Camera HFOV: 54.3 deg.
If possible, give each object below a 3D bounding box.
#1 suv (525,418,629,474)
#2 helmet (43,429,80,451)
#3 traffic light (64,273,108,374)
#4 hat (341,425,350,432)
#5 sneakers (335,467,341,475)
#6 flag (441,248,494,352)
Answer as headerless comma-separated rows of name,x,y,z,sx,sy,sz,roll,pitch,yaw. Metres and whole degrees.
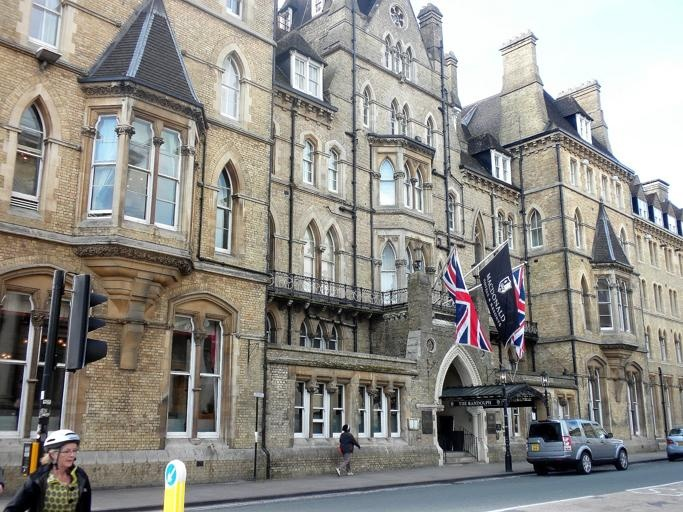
suv,9.647,7.668,27.387,4.329,1.855,2.105,9,-18,-37
helmet,-3.943,2.587,9.392,0.438,0.270,0.320,-8,-12,-8
traffic light,-4.524,1.160,12.006,0.668,1.824,0.682,7,-19,-23
hat,0.179,6.375,24.559,0.246,0.283,0.611,0,-18,-2
sneakers,-0.087,7.938,24.519,0.152,0.383,0.114,3,12,27
flag,5.771,1.988,31.027,1.087,4.481,2.991,-11,-20,30
